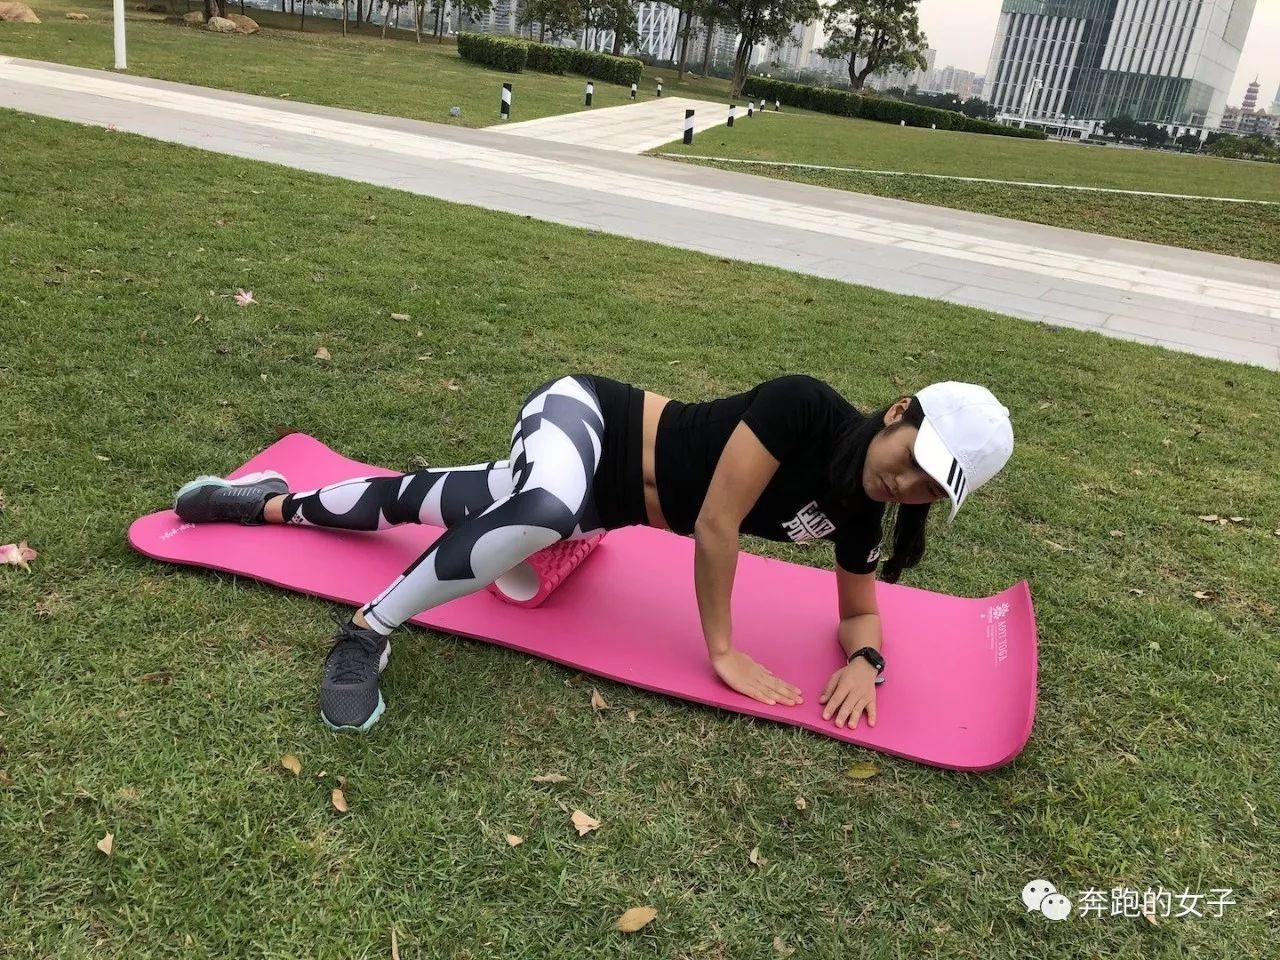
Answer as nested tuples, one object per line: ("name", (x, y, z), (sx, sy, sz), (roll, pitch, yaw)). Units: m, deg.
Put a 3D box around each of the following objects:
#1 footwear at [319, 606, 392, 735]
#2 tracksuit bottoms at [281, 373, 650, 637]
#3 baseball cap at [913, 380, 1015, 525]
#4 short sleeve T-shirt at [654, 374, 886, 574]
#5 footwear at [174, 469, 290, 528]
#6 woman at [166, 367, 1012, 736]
("footwear", (-0.913, 0.642, 3.259), (0.165, 0.167, 0.371), (4, 30, -9))
("tracksuit bottoms", (-0.512, 0.033, 3.431), (1.155, 0.429, 0.745), (-12, 19, -26))
("baseball cap", (0.959, -0.111, 3.152), (0.309, 0.280, 0.443), (35, 45, -39))
("short sleeve T-shirt", (0.406, -0.060, 3.375), (0.791, 0.247, 0.517), (20, -7, 42))
("footwear", (-1.688, 0.070, 4.013), (0.529, 0.180, 0.265), (-2, 10, -9))
("woman", (0.051, 0.169, 3.540), (2.019, 0.655, 1.276), (3, 28, 0))
